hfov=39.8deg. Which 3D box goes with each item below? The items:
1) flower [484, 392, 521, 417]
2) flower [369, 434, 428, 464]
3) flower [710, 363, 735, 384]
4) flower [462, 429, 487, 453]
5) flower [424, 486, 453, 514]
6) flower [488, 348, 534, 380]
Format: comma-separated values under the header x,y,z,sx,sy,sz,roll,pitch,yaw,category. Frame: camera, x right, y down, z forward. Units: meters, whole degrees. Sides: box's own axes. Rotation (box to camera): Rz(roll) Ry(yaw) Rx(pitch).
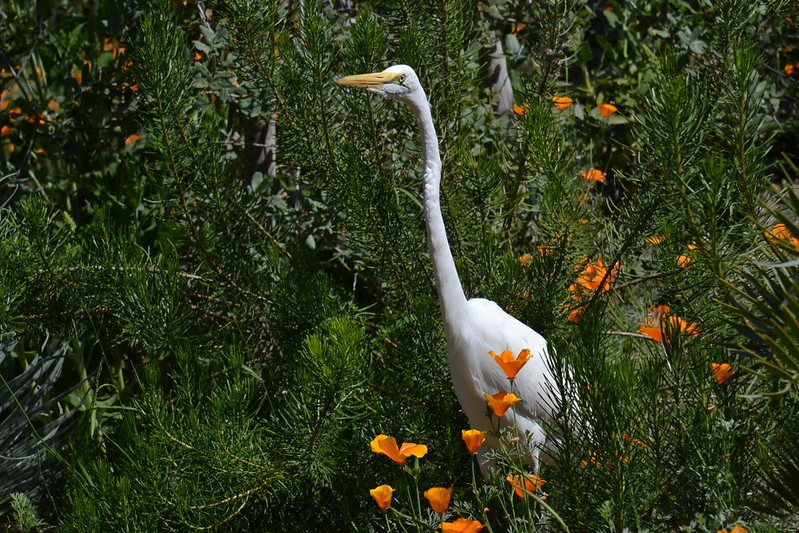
x,y,z,sx,sy,sz,roll,pitch,yaw,category
0.341,0.430,3.556,0.082,0.056,0.094,-3,-1,-15,flower
-0.008,0.592,3.556,0.170,0.100,0.116,-3,13,-33,flower
1.066,0.357,3.641,0.071,0.070,0.114,7,12,17,flower
0.247,0.583,3.576,0.070,0.080,0.083,5,-15,1,flower
0.129,0.734,3.420,0.068,0.075,0.082,5,-26,2,flower
0.370,0.315,3.603,0.096,0.103,0.125,-2,-5,2,flower
